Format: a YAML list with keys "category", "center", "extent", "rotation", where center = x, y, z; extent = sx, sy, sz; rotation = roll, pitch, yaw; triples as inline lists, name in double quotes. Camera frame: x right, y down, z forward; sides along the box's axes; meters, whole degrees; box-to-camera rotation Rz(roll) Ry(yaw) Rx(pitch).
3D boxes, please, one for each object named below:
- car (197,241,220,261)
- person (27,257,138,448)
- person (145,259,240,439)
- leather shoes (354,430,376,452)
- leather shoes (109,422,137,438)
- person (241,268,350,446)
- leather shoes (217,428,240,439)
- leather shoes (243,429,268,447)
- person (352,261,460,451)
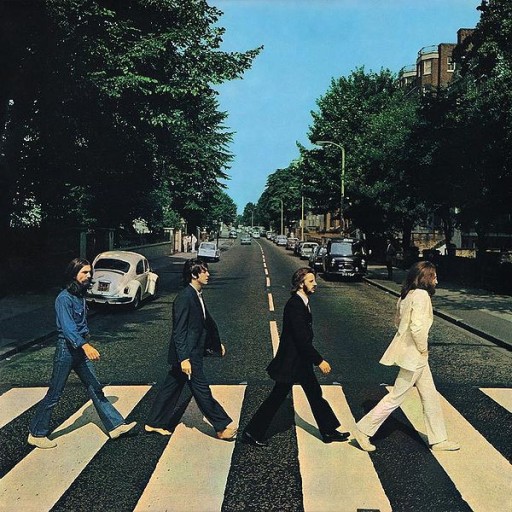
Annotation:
- category: "car"
  center: [-3.077, -0.280, 38.771]
  extent: [1.682, 1.234, 1.033]
  rotation: [-2, 4, -41]
- category: "person"
  center: [-1.814, 0.953, 6.127]
  extent: [0.979, 1.858, 0.556]
  rotation: [-1, 4, -24]
- category: "person"
  center: [-0.724, 0.930, 6.410]
  extent: [0.912, 1.840, 1.021]
  rotation: [0, 3, -15]
- category: "leather shoes"
  center: [1.066, 1.832, 5.965]
  extent: [0.276, 0.124, 0.114]
  rotation: [42, 31, -16]
- category: "leather shoes"
  center: [-1.388, 1.791, 6.238]
  extent: [0.186, 0.088, 0.062]
  rotation: [-29, 34, -25]
- category: "person"
  center: [0.388, 1.009, 6.024]
  extent: [0.990, 1.764, 0.352]
  rotation: [1, 3, 7]
- category: "leather shoes"
  center: [-0.292, 1.828, 6.197]
  extent: [0.189, 0.081, 0.100]
  rotation: [-9, 14, -11]
- category: "leather shoes"
  center: [-0.028, 1.816, 6.040]
  extent: [0.282, 0.129, 0.111]
  rotation: [15, 8, 13]
- category: "person"
  center: [1.522, 0.974, 6.031]
  extent: [0.958, 1.843, 0.403]
  rotation: [0, 3, 1]
